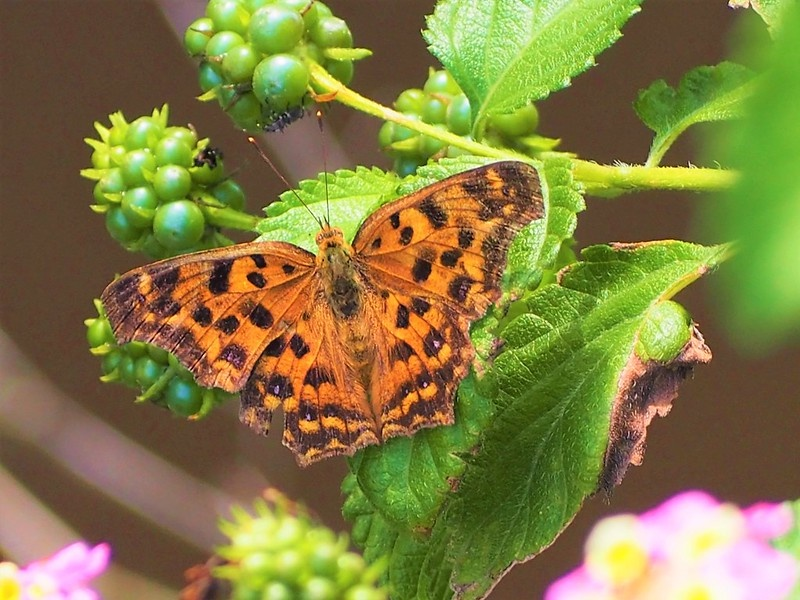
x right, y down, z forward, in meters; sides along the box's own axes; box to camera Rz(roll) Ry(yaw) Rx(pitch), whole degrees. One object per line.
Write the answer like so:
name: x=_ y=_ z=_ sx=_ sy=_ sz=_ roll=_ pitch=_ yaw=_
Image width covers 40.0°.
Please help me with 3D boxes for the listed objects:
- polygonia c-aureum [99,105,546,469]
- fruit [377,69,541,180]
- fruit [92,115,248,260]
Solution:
polygonia c-aureum: x=-0.102 y=0.049 z=2.143 sx=0.861 sy=0.518 sz=0.393 roll=-24 pitch=-34 yaw=1
fruit: x=0.117 y=-0.390 z=2.362 sx=0.262 sy=0.262 sz=0.092 roll=-21 pitch=-66 yaw=10
fruit: x=-0.466 y=-0.223 z=2.214 sx=0.230 sy=0.313 sz=0.153 roll=-41 pitch=-25 yaw=-9
